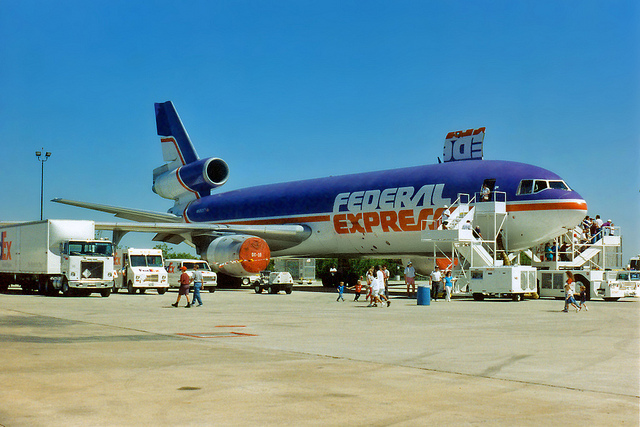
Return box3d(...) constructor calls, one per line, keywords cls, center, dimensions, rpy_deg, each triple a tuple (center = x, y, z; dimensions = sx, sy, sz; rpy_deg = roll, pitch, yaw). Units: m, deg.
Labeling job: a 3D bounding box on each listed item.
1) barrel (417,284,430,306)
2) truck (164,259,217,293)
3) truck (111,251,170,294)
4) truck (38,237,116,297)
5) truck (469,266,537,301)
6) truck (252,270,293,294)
box3d(cls="barrel", center=(4.384, 3.333, 28.472), dimensions=(0.685, 0.875, 0.686), rpy_deg=(0, -7, 0))
box3d(cls="truck", center=(-7.118, 3.270, 38.981), dimensions=(2.417, 1.809, 4.389), rpy_deg=(2, -4, -33))
box3d(cls="truck", center=(-9.869, 3.056, 37.690), dimensions=(2.153, 2.029, 4.154), rpy_deg=(1, -2, -32))
box3d(cls="truck", center=(-11.948, 2.729, 33.507), dimensions=(2.560, 2.444, 5.735), rpy_deg=(4, -9, -37))
box3d(cls="truck", center=(7.849, 2.998, 30.046), dimensions=(2.725, 1.265, 1.317), rpy_deg=(0, 0, 6))
box3d(cls="truck", center=(-2.453, 3.666, 37.496), dimensions=(1.379, 1.032, 2.205), rpy_deg=(1, -1, -29))
